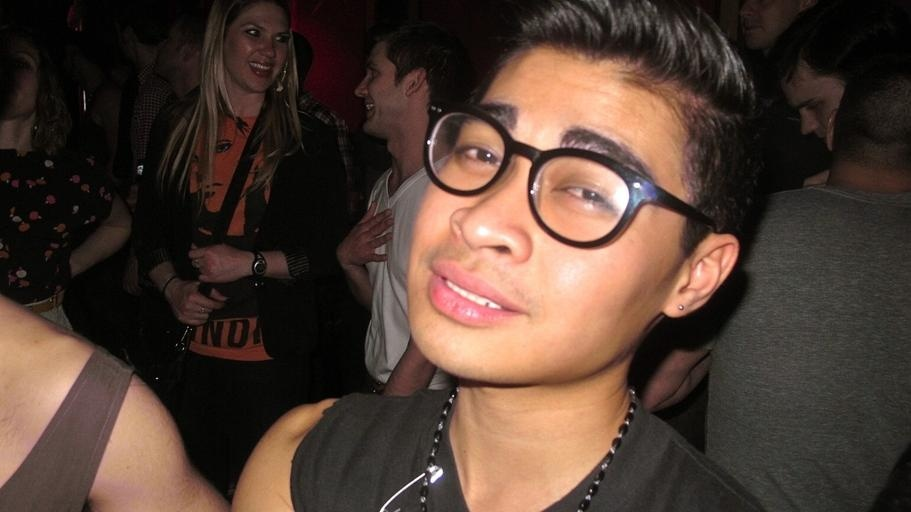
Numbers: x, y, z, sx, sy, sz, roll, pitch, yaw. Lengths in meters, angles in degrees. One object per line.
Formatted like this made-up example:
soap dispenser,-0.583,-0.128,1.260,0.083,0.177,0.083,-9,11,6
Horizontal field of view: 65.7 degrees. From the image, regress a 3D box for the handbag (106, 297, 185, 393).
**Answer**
handbag,-1.962,0.569,4.488,0.262,0.406,0.645,-10,42,-40
